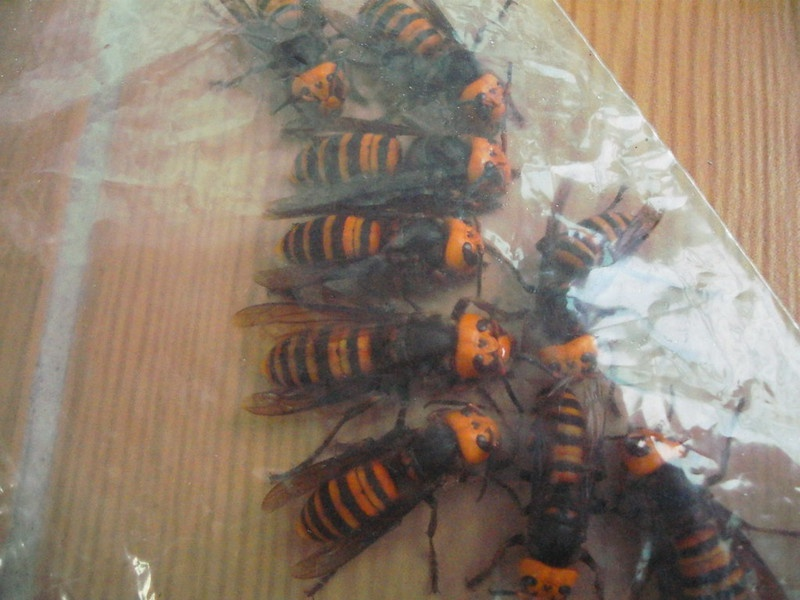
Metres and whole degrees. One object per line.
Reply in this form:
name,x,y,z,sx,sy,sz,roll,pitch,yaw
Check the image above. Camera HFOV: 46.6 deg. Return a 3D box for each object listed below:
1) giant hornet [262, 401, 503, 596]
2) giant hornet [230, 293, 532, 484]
giant hornet,-0.011,0.514,2.520,0.522,0.204,0.514,-23,94,2
giant hornet,-0.053,0.173,2.511,0.638,0.211,0.536,-3,93,2
